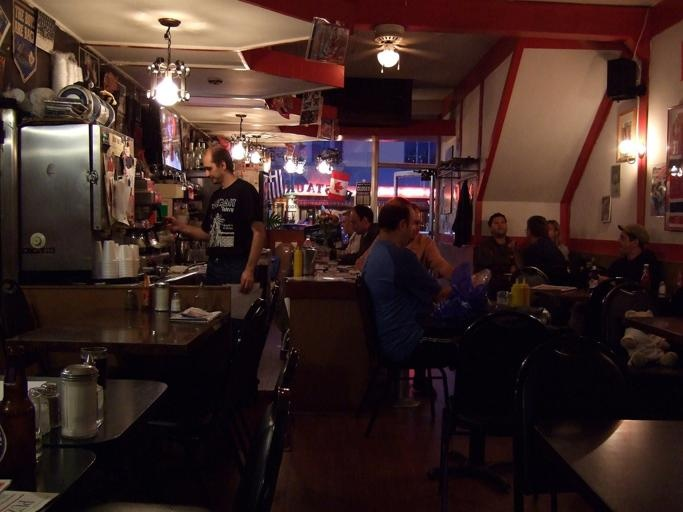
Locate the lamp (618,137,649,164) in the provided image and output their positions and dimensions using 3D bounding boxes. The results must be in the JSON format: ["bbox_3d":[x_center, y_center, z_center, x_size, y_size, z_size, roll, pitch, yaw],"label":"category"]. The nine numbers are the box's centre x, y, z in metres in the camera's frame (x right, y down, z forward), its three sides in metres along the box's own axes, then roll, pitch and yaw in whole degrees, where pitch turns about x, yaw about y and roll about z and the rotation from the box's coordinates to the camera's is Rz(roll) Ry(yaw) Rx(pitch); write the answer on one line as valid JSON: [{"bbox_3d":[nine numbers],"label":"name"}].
[{"bbox_3d":[3.690,-1.313,7.402,0.200,0.282,0.142,-1,10,7],"label":"lamp"}]

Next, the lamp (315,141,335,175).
[{"bbox_3d":[-0.311,-2.304,14.011,0.476,0.575,0.734,0,6,2],"label":"lamp"}]

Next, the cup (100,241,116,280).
[{"bbox_3d":[-1.822,0.024,4.604,0.120,0.280,0.168,-2,6,-22],"label":"cup"}]

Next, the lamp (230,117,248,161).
[{"bbox_3d":[-1.761,-2.061,10.205,0.306,0.812,0.308,1,5,-30],"label":"lamp"}]

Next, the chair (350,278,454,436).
[{"bbox_3d":[0.418,0.763,4.806,0.974,1.583,0.934,-1,-2,4],"label":"chair"}]

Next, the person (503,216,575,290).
[{"bbox_3d":[2.326,0.159,6.721,0.626,1.257,0.564,-2,12,22],"label":"person"}]

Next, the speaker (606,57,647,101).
[{"bbox_3d":[3.507,-2.178,7.249,0.432,0.480,0.263,1,6,4],"label":"speaker"}]

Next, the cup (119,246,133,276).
[{"bbox_3d":[-1.709,0.044,4.631,0.111,0.241,0.090,-3,7,-31],"label":"cup"}]

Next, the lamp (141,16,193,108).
[{"bbox_3d":[-1.530,-1.701,5.198,0.340,0.744,0.348,1,5,-20],"label":"lamp"}]

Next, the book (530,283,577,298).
[{"bbox_3d":[1.904,0.303,5.255,0.317,0.045,0.445,7,9,41],"label":"book"}]

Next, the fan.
[{"bbox_3d":[0.847,-3.173,9.032,1.075,0.270,1.098,0,2,-12],"label":"fan"}]

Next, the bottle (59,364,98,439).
[{"bbox_3d":[-1.046,0.589,2.345,0.188,0.264,0.151,0,-8,-13],"label":"bottle"}]

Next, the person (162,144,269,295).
[{"bbox_3d":[-1.003,-0.347,5.120,0.747,1.232,0.427,3,6,25],"label":"person"}]

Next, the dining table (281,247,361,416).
[{"bbox_3d":[-0.106,0.530,5.416,0.806,1.426,1.441,0,0,0],"label":"dining table"}]

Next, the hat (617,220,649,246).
[{"bbox_3d":[3.264,-0.252,6.579,0.291,0.154,0.210,25,9,4],"label":"hat"}]
